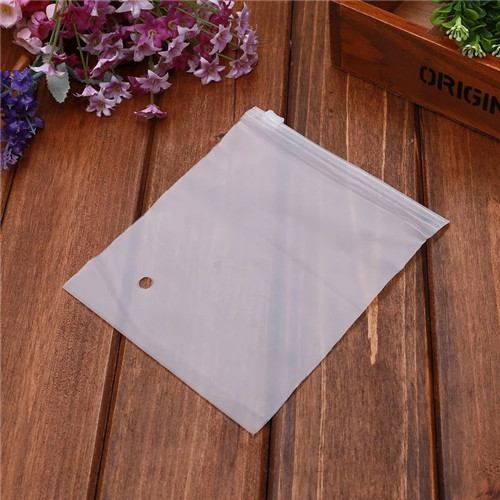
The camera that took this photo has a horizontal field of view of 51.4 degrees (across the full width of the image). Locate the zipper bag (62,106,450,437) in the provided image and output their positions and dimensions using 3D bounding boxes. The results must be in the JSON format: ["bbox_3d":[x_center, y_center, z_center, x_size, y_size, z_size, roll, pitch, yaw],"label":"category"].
[{"bbox_3d":[0.005,0.004,0.560,0.378,0.066,0.271,-37,66,-22],"label":"zipper bag"}]
